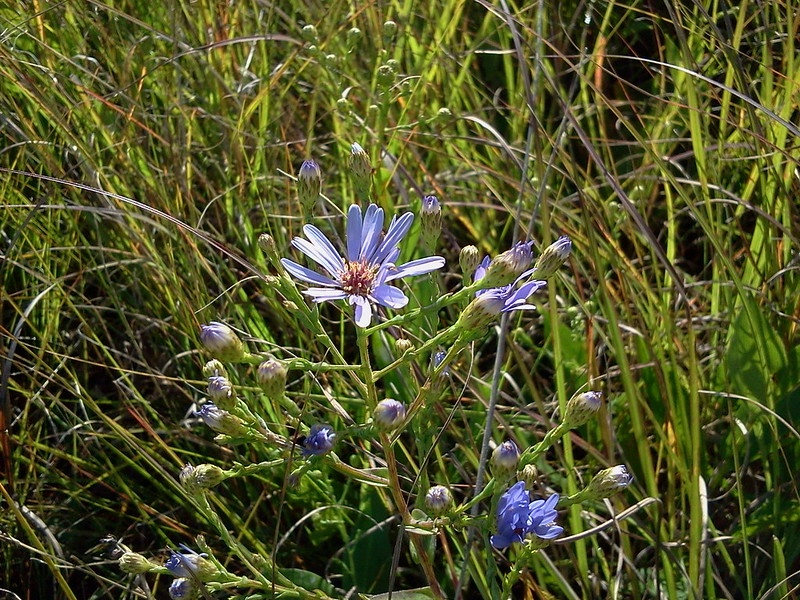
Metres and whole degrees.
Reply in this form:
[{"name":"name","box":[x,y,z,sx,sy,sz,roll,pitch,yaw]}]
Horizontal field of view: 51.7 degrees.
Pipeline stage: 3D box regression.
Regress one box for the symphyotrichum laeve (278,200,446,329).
[{"name":"symphyotrichum laeve","box":[-0.108,-0.080,2.352,0.323,0.187,0.420,-10,62,0]}]

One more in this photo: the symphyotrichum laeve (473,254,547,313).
[{"name":"symphyotrichum laeve","box":[0.318,-0.073,2.426,0.162,0.179,0.096,24,79,34]}]

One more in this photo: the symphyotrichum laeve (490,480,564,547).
[{"name":"symphyotrichum laeve","box":[0.370,0.623,2.396,0.166,0.115,0.183,29,50,21]}]
